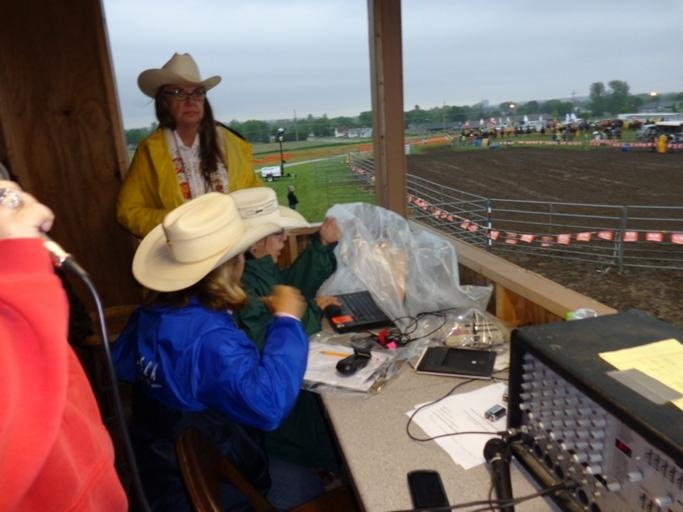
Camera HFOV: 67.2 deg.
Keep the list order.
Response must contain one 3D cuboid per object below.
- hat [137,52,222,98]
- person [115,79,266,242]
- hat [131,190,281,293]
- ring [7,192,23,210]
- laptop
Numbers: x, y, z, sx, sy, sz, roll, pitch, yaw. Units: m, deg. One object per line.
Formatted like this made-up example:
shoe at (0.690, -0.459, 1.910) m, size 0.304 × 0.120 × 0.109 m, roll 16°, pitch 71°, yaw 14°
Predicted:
hat at (-0.853, -0.940, 2.670) m, size 0.327 × 0.129 × 0.336 m, roll -1°, pitch 1°, yaw -8°
person at (-0.806, -0.534, 2.780) m, size 0.906 × 0.823 × 0.461 m, roll -17°, pitch 32°, yaw -36°
hat at (-0.415, -0.002, 1.727) m, size 0.338 × 0.146 × 0.412 m, roll 20°, pitch 44°, yaw 42°
ring at (-0.571, -0.098, 0.896) m, size 0.012 × 0.021 × 0.030 m, roll 7°, pitch 2°, yaw -41°
laptop at (0.063, 0.196, 2.304) m, size 0.351 × 0.391 × 0.453 m, roll -2°, pitch 41°, yaw -20°
